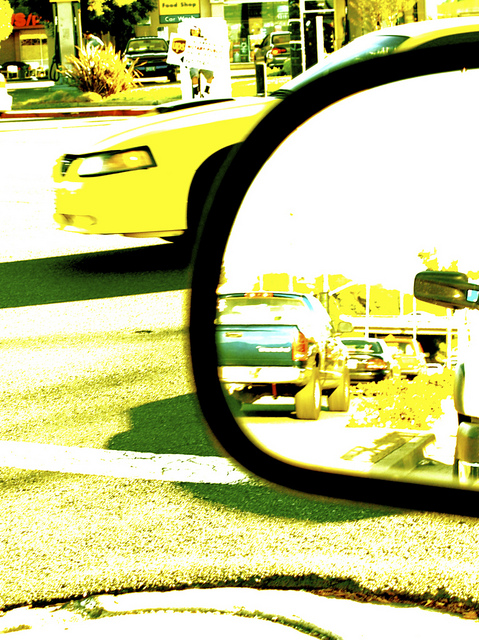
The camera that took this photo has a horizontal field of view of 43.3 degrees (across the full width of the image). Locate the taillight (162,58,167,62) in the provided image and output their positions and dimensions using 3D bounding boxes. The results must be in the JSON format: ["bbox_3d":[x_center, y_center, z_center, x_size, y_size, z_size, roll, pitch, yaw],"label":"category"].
[{"bbox_3d":[-4.521,-15.411,35.895,0.200,0.227,0.070,1,28,-23],"label":"taillight"}]

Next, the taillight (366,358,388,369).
[{"bbox_3d":[0.855,0.273,3.780,0.109,0.022,0.070,-1,2,12],"label":"taillight"}]

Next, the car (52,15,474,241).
[{"bbox_3d":[-0.069,-1.539,5.798,3.877,0.978,1.416,-1,6,1],"label":"car"}]
